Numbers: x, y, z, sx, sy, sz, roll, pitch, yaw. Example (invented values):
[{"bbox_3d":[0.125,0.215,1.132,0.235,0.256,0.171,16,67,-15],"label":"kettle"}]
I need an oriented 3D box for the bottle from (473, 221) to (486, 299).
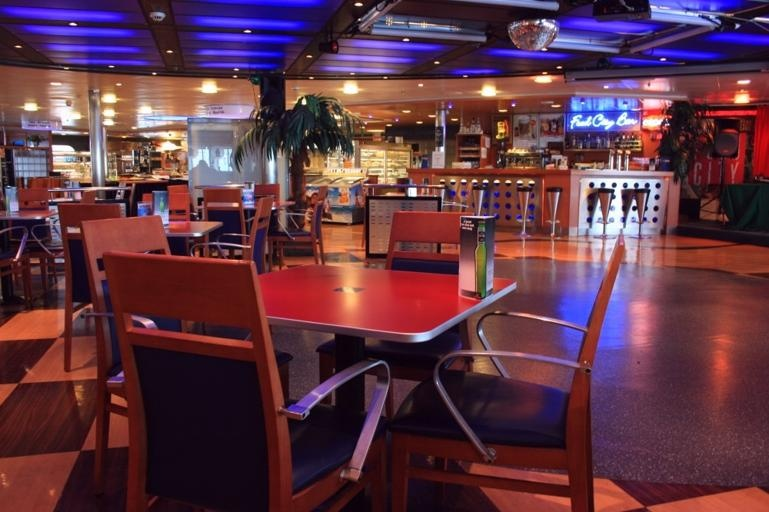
[{"bbox_3d":[0.493,0.020,3.056,0.058,0.378,0.070,2,11,5],"label":"bottle"}]

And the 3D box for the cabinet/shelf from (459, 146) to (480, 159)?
[{"bbox_3d":[2.290,-2.776,16.163,0.655,0.460,0.491,3,11,12],"label":"cabinet/shelf"}]

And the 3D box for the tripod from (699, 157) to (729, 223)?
[{"bbox_3d":[7.910,-1.605,14.370,0.503,1.468,1.137,4,11,17],"label":"tripod"}]

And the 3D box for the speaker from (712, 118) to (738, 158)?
[{"bbox_3d":[8.292,-2.840,14.583,0.636,0.613,1.008,14,38,25],"label":"speaker"}]

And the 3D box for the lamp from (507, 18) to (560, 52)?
[{"bbox_3d":[1.777,-2.658,7.192,0.555,0.320,0.368,3,11,11],"label":"lamp"}]
